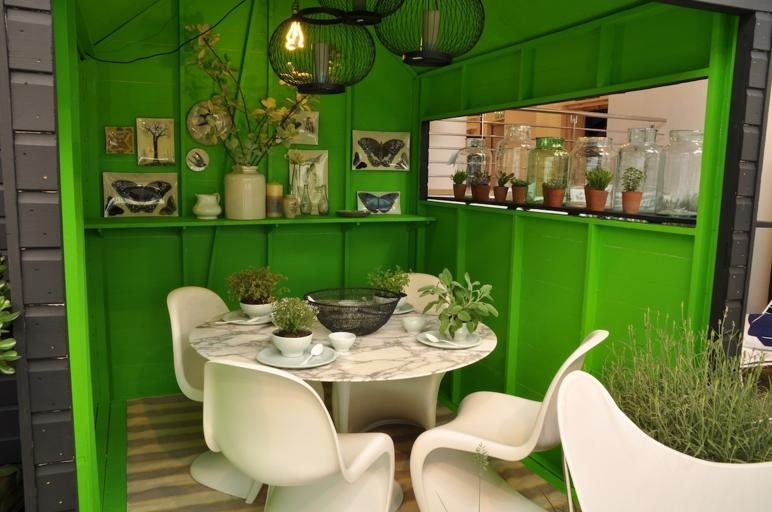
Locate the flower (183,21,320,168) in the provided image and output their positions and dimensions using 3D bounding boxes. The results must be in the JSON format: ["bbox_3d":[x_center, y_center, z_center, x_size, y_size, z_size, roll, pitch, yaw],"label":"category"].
[{"bbox_3d":[-1.165,-1.348,4.432,1.218,1.241,0.502,4,7,-30],"label":"flower"}]

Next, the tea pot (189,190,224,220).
[{"bbox_3d":[-1.483,-0.416,4.536,0.232,0.214,0.232,1,1,0],"label":"tea pot"}]

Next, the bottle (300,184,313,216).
[{"bbox_3d":[-0.729,-0.505,4.938,0.083,0.269,0.136,3,15,7],"label":"bottle"}]

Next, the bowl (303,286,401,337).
[{"bbox_3d":[-0.206,0.342,3.442,0.601,0.237,0.471,2,14,1],"label":"bowl"}]

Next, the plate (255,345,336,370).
[{"bbox_3d":[-0.490,0.546,2.957,0.436,0.076,0.243,0,14,-8],"label":"plate"}]

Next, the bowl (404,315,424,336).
[{"bbox_3d":[0.167,0.425,3.372,0.116,0.075,0.114,1,11,0],"label":"bowl"}]

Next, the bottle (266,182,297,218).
[{"bbox_3d":[-0.938,-0.489,4.750,0.295,0.296,0.302,0,2,-5],"label":"bottle"}]

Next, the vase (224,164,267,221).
[{"bbox_3d":[-1.176,-0.510,4.528,0.436,0.467,0.427,1,3,2],"label":"vase"}]

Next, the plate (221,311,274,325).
[{"bbox_3d":[-0.924,0.410,3.545,0.343,0.048,0.191,8,15,25],"label":"plate"}]

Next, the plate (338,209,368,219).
[{"bbox_3d":[-0.306,-0.375,4.935,0.291,0.062,0.118,1,14,-3],"label":"plate"}]

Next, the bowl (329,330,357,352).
[{"bbox_3d":[-0.258,0.489,3.149,0.140,0.095,0.131,1,14,0],"label":"bowl"}]

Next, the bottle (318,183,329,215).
[{"bbox_3d":[-0.585,-0.521,5.028,0.085,0.269,0.125,2,15,0],"label":"bottle"}]

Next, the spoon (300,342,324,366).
[{"bbox_3d":[-0.402,0.536,2.977,0.043,0.027,0.159,14,23,10],"label":"spoon"}]
